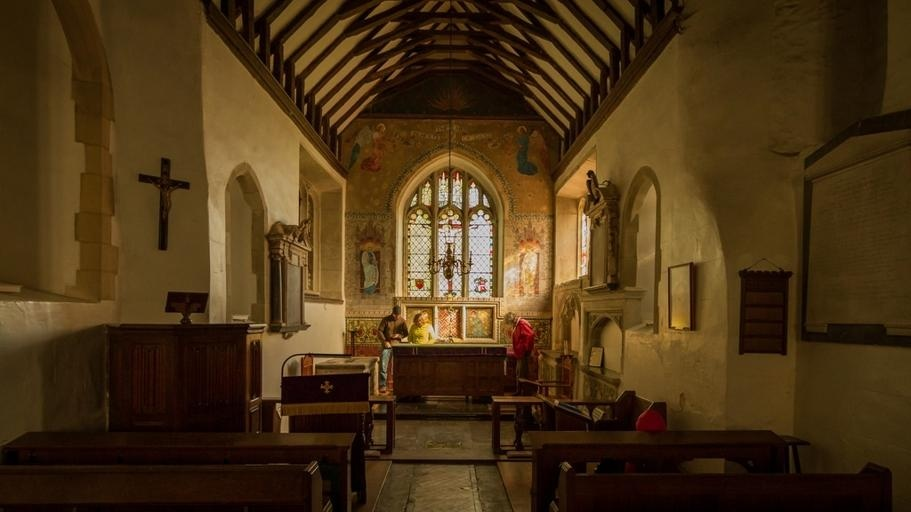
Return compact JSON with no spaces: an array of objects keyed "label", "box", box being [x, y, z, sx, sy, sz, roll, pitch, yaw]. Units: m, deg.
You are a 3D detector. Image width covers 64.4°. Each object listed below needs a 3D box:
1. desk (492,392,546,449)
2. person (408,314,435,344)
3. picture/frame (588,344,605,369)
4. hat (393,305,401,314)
[{"label":"desk","box":[1.169,3.182,13.798,1.022,0.969,1.006,0,-9,0]},{"label":"person","box":[-0.896,1.870,19.051,0.646,0.846,1.764,2,-7,-3]},{"label":"picture/frame","box":[2.955,2.116,15.166,0.186,0.535,0.457,19,-14,-31]},{"label":"hat","box":[-1.441,1.329,17.580,0.189,0.210,0.232,2,14,-4]}]
